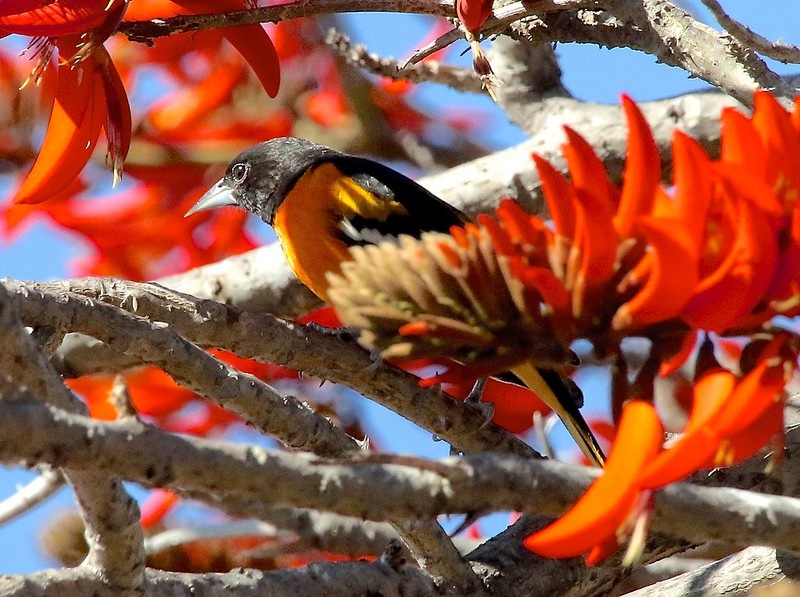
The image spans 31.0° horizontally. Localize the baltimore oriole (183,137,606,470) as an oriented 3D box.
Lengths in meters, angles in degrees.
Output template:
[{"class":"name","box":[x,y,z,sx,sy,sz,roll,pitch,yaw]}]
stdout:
[{"class":"baltimore oriole","box":[0.110,-0.096,4.007,1.639,0.432,0.608,4,76,24]}]
